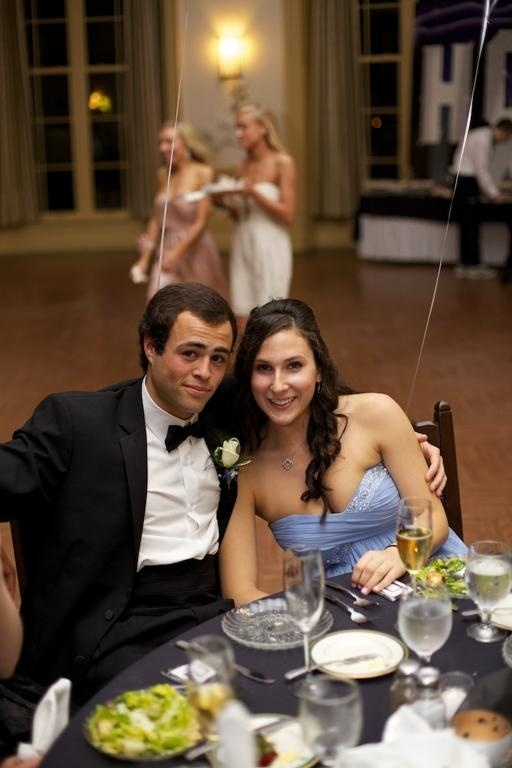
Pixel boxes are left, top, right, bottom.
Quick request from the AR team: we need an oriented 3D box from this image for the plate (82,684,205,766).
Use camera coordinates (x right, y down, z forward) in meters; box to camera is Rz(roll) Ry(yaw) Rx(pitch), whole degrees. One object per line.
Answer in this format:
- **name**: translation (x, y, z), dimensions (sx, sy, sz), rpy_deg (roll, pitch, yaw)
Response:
- **plate**: translation (-0.137, 0.402, 0.723), dimensions (0.132, 0.032, 0.121), rpy_deg (-8, 20, -14)

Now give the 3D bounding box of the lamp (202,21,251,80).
- **lamp**: translation (-0.059, -0.790, 1.448), dimensions (0.101, 0.115, 0.051), rpy_deg (-3, 20, 0)

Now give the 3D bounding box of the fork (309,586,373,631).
- **fork**: translation (0.155, 0.381, 1.051), dimensions (0.028, 0.020, 0.170), rpy_deg (-2, 3, -17)

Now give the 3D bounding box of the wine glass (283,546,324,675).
- **wine glass**: translation (0.067, 0.307, 0.819), dimensions (0.050, 0.171, 0.099), rpy_deg (-2, 20, 4)

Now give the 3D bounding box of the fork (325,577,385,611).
- **fork**: translation (0.178, 0.380, 1.093), dimensions (0.028, 0.022, 0.161), rpy_deg (0, 2, -22)

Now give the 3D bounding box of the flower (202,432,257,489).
- **flower**: translation (-0.065, 0.176, 1.572), dimensions (0.126, 0.132, 0.081), rpy_deg (19, 52, 17)
